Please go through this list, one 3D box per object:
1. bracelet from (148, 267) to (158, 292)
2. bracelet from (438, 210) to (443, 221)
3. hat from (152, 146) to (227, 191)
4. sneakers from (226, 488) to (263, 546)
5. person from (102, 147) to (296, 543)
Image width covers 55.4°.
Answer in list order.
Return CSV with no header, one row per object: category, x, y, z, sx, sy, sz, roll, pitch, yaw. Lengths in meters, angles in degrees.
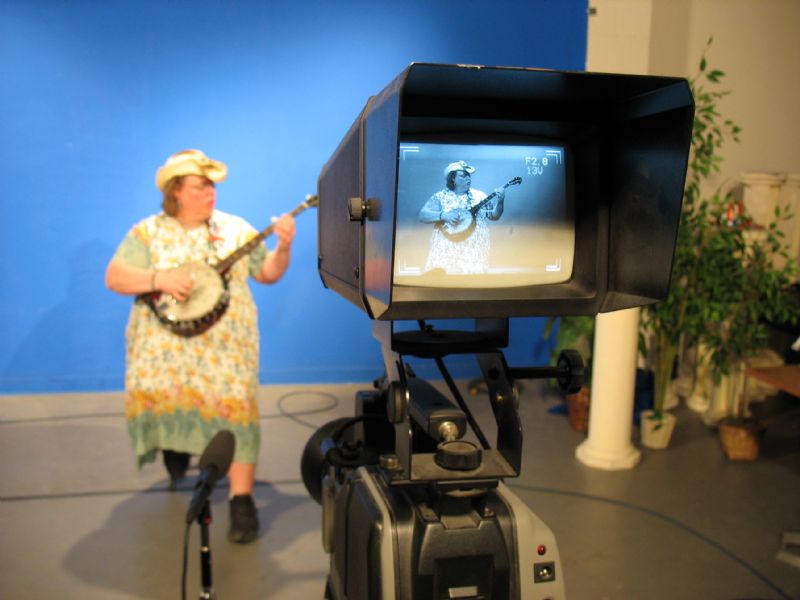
bracelet,-1.304,-0.101,4.014,0.043,0.112,0.027,-1,9,6
bracelet,0.139,-0.292,2.632,0.016,0.024,0.023,-1,10,-7
hat,-1.175,-0.746,4.254,0.382,0.217,0.304,-4,13,8
sneakers,-0.847,1.138,4.085,0.162,0.167,0.360,2,18,-15
person,-1.115,0.207,4.212,0.905,2.049,0.616,1,9,15
